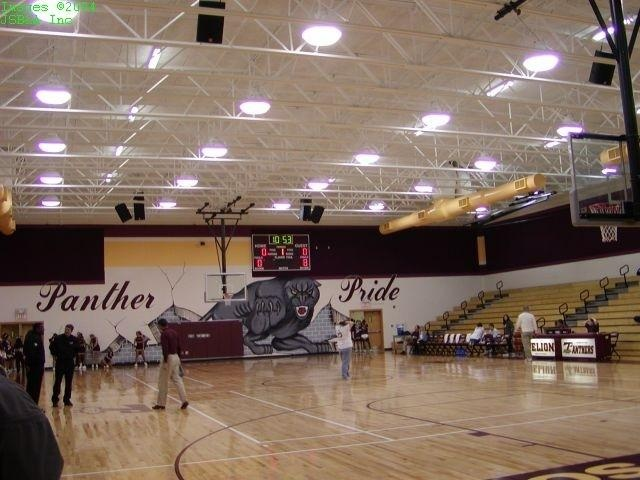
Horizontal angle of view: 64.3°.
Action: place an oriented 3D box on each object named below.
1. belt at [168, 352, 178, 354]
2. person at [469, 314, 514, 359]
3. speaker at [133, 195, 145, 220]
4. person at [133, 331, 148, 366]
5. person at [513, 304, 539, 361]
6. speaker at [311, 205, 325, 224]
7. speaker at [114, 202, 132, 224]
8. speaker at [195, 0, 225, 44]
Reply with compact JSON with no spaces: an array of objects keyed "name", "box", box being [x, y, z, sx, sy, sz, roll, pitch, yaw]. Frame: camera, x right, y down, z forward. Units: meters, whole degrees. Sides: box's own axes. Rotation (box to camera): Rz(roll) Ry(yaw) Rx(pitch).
[{"name":"belt","box":[-3.219,2.506,11.268,0.068,0.068,0.378,-6,-13,11]},{"name":"person","box":[7.845,4.463,23.240,0.800,1.280,1.953,4,-13,-11]},{"name":"speaker","box":[-8.218,-1.595,23.031,0.470,1.248,1.935,1,-13,-21]},{"name":"person","box":[-9.030,5.454,25.591,0.604,1.694,1.113,1,-12,-21]},{"name":"person","box":[7.535,3.431,18.549,0.625,1.893,0.972,-8,-12,21]},{"name":"speaker","box":[-0.185,-1.371,25.379,0.582,0.997,0.944,-3,-12,-1]},{"name":"speaker","box":[-8.896,-1.309,23.062,0.730,1.036,0.234,-26,18,-6]},{"name":"speaker","box":[-2.260,-4.684,10.483,0.538,1.198,0.809,-1,-12,-14]}]
